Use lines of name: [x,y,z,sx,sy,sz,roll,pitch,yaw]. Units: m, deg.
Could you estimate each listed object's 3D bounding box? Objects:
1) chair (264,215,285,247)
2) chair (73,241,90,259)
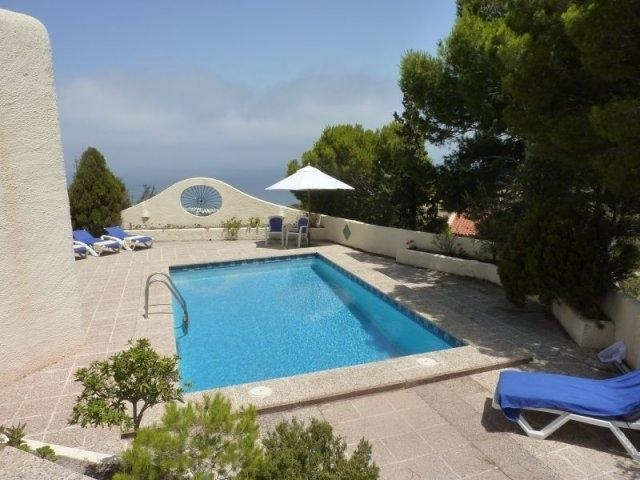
chair: [-1.938,-0.441,17.288,0.841,1.583,1.052,1,5,-3]
chair: [-8.191,0.358,13.878,0.416,0.588,0.921,-7,16,-31]
